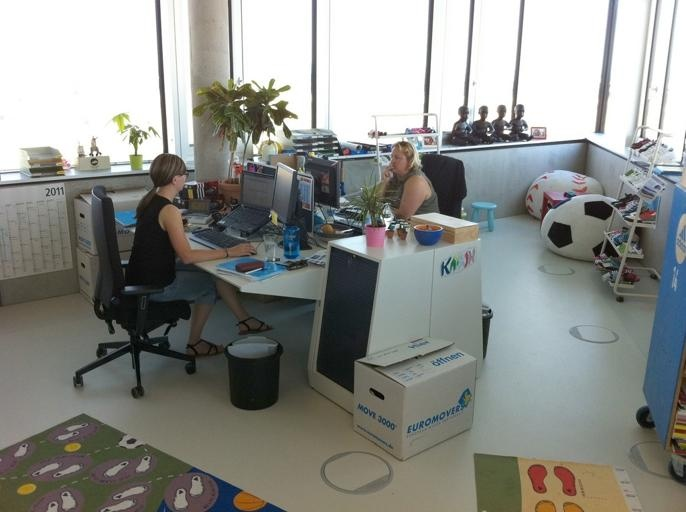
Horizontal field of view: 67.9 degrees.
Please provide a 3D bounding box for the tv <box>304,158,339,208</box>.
[{"bbox_3d":[-0.171,-0.577,4.112,0.113,0.310,0.341,-14,26,-34],"label":"tv"}]

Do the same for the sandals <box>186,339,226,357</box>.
[{"bbox_3d":[-1.096,0.727,4.041,0.257,0.108,0.142,-6,21,-20],"label":"sandals"}]

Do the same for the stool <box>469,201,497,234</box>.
[{"bbox_3d":[1.964,-0.580,7.169,0.431,0.476,0.428,4,16,17],"label":"stool"}]

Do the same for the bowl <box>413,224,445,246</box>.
[{"bbox_3d":[0.581,-0.143,3.495,0.180,0.119,0.216,5,18,15],"label":"bowl"}]

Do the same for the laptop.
[{"bbox_3d":[-0.824,-0.437,4.399,0.416,0.412,0.317,23,40,39],"label":"laptop"}]

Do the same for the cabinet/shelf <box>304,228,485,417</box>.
[{"bbox_3d":[0.131,0.296,3.814,1.462,1.326,0.789,-11,18,-34],"label":"cabinet/shelf"}]

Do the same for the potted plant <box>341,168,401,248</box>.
[{"bbox_3d":[0.195,-0.324,3.633,0.457,0.617,0.593,-3,20,-2],"label":"potted plant"}]

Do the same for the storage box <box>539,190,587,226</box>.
[{"bbox_3d":[2.922,-0.718,7.014,0.509,0.544,0.518,-15,28,-20],"label":"storage box"}]

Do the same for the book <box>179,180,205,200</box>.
[{"bbox_3d":[-1.439,-0.629,4.837,0.169,0.172,0.165,-7,18,-38],"label":"book"}]

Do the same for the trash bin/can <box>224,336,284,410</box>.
[{"bbox_3d":[-0.625,0.801,3.587,0.372,0.404,0.373,-5,18,-15],"label":"trash bin/can"}]

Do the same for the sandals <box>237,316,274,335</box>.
[{"bbox_3d":[-0.755,0.602,4.422,0.300,0.135,0.133,-4,17,-9],"label":"sandals"}]

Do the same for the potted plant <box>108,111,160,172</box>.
[{"bbox_3d":[-2.200,-1.231,5.557,0.565,0.602,0.525,-5,14,-29],"label":"potted plant"}]

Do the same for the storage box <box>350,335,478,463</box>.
[{"bbox_3d":[0.465,0.891,3.345,0.684,0.533,0.501,-8,14,-38],"label":"storage box"}]

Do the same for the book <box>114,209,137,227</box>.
[{"bbox_3d":[-1.921,-0.326,4.524,0.210,0.053,0.195,21,32,34],"label":"book"}]

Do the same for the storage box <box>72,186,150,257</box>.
[{"bbox_3d":[-1.907,-0.266,4.182,0.563,0.401,0.303,-16,28,-40],"label":"storage box"}]
